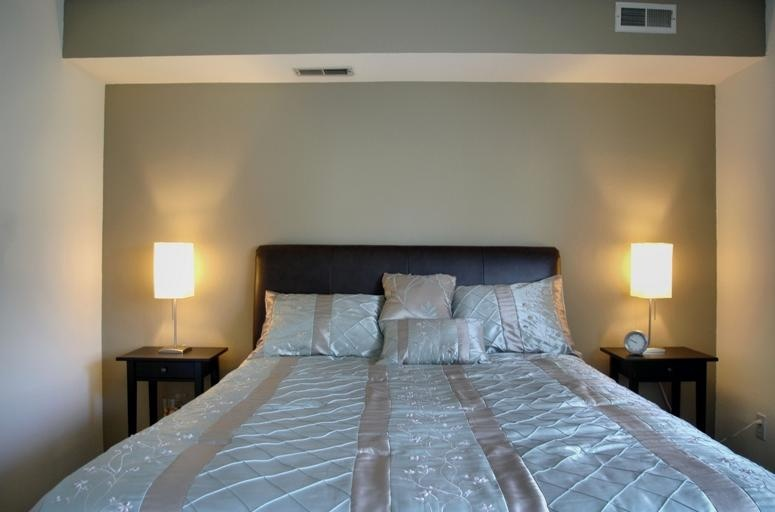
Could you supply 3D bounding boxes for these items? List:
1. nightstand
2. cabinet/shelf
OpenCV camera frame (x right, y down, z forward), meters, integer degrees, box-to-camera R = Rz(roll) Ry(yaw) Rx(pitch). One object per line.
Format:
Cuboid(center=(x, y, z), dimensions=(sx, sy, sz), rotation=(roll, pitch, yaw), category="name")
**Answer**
Cuboid(center=(2.053, 0.966, 4.554), dimensions=(0.705, 0.813, 0.694), rotation=(0, -6, 6), category="nightstand")
Cuboid(center=(-1.630, 0.911, 4.567), dimensions=(0.881, 0.876, 0.669), rotation=(-1, -3, 1), category="cabinet/shelf")
